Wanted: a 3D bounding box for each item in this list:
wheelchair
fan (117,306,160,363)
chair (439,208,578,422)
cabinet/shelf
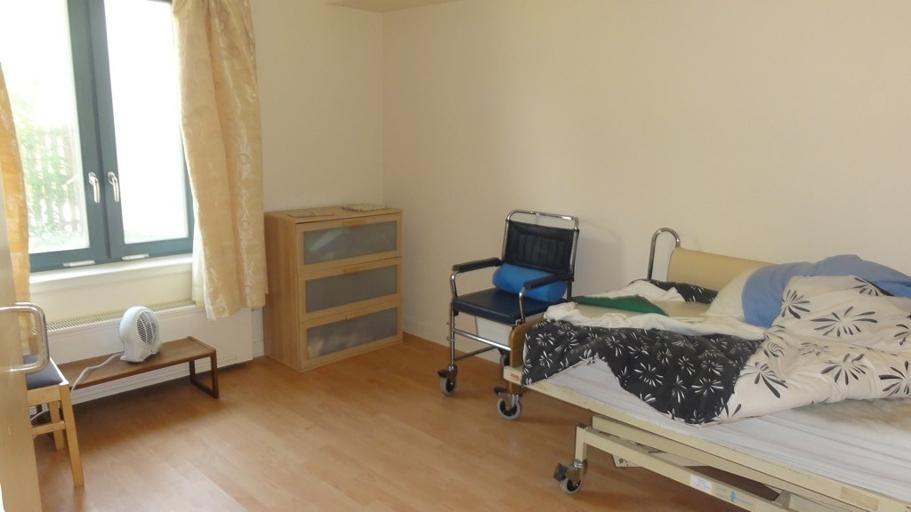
[{"bbox_3d":[0.416,0.431,5.117,1.259,1.423,1.129,-4,16,3],"label":"wheelchair"},{"bbox_3d":[-2.446,0.589,4.720,0.290,0.394,0.226,-10,20,-27],"label":"fan"},{"bbox_3d":[0.443,0.432,5.099,1.060,1.404,1.092,5,18,33],"label":"chair"},{"bbox_3d":[-1.121,0.236,5.620,1.215,1.316,0.552,-12,21,-35],"label":"cabinet/shelf"}]
